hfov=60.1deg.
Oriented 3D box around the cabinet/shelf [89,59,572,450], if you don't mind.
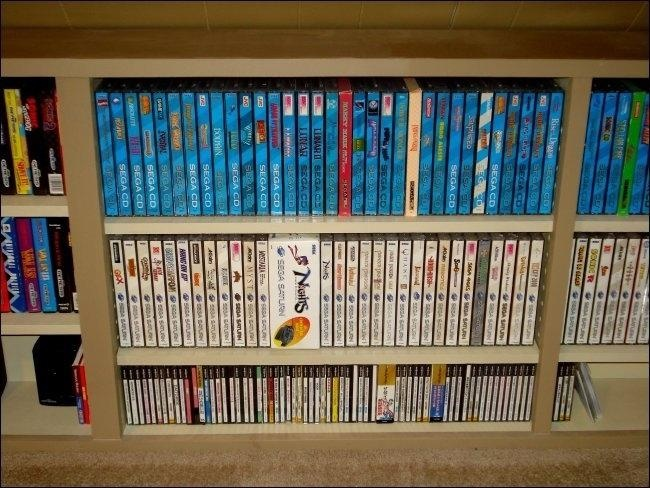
[{"bbox_3d":[0.006,-0.003,1.724,1.289,0.995,0.390,-1,22,-2],"label":"cabinet/shelf"}]
